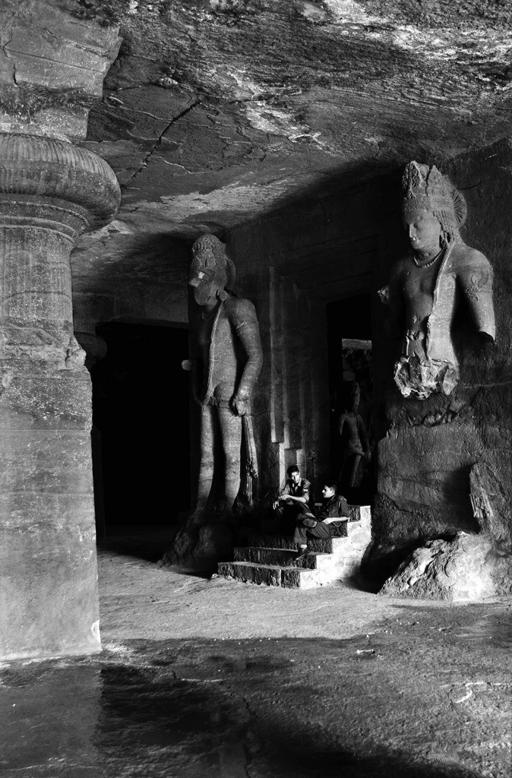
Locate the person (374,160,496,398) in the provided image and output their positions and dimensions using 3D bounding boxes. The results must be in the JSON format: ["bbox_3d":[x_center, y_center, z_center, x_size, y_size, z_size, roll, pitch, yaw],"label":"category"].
[{"bbox_3d":[0.949,-0.584,4.996,0.675,1.090,0.390,-3,-1,25],"label":"person"}]

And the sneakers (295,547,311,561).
[{"bbox_3d":[0.262,0.891,5.136,0.039,0.046,0.117,-5,-13,23],"label":"sneakers"}]

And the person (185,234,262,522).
[{"bbox_3d":[-0.190,-0.120,6.294,0.513,1.431,0.398,-2,-1,15],"label":"person"}]
